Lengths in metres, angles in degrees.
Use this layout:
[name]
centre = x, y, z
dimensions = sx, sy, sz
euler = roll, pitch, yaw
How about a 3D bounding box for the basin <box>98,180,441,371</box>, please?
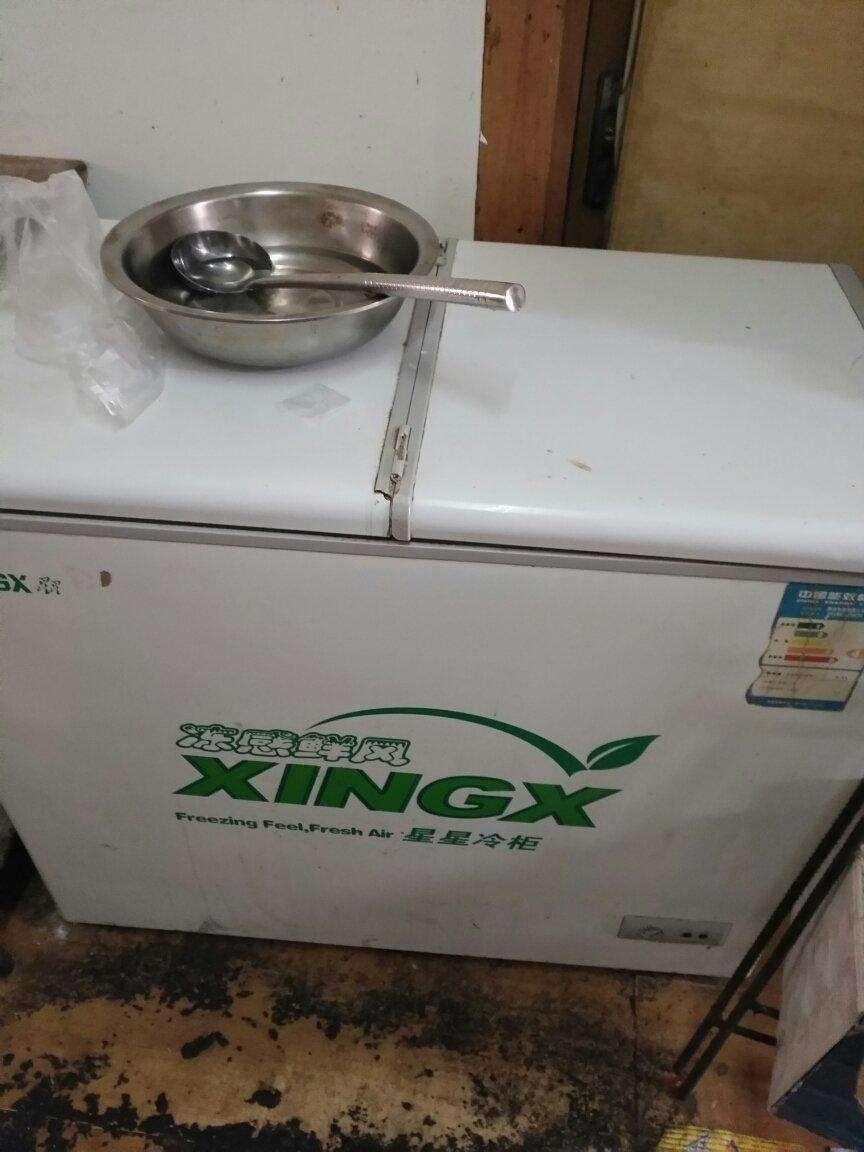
[basin]
centre = -0.209, -0.370, 1.544
dimensions = 0.336, 0.078, 0.309
euler = 2, 46, -2
